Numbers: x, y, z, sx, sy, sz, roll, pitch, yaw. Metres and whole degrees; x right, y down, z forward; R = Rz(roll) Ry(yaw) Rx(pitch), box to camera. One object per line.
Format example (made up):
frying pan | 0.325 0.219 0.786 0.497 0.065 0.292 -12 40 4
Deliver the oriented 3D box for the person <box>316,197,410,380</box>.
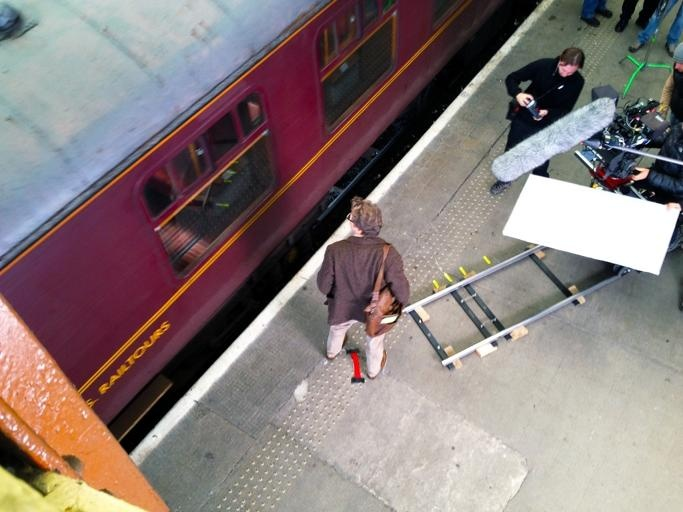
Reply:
person | 0.201 0.241 5.094 0.684 1.915 0.696 9 49 7

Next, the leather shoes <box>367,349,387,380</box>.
leather shoes | 0.353 1.003 5.663 0.106 0.143 0.355 11 65 16

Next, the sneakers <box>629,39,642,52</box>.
sneakers | 3.863 -2.750 7.991 0.196 0.085 0.087 -41 61 6

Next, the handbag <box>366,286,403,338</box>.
handbag | 0.326 0.466 4.848 0.254 0.141 0.409 41 110 17

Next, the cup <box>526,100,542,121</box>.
cup | 1.910 -1.446 5.951 0.168 0.151 0.109 39 78 12
